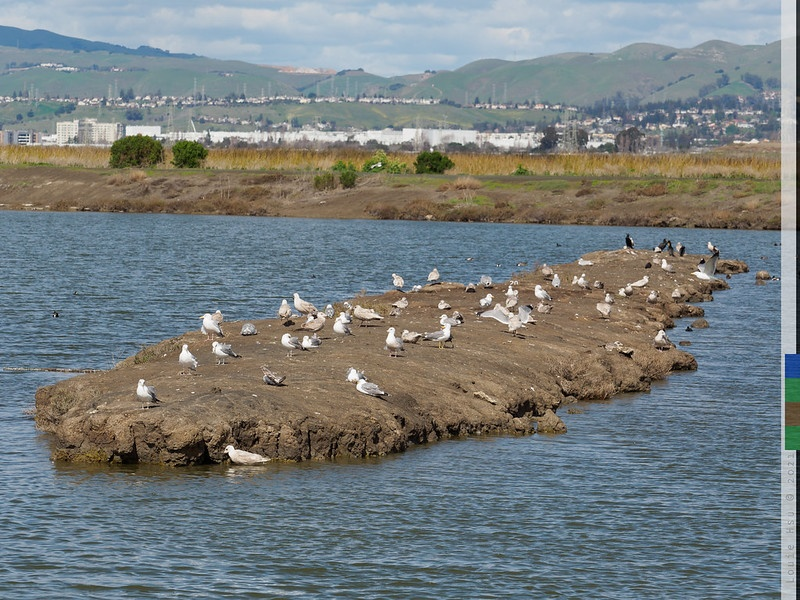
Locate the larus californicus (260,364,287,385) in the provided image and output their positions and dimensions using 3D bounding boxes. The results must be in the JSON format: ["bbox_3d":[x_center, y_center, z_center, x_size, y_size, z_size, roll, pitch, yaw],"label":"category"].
[{"bbox_3d":[-4.462,2.761,63.966,1.096,0.567,0.413,20,-18,-37],"label":"larus californicus"}]
